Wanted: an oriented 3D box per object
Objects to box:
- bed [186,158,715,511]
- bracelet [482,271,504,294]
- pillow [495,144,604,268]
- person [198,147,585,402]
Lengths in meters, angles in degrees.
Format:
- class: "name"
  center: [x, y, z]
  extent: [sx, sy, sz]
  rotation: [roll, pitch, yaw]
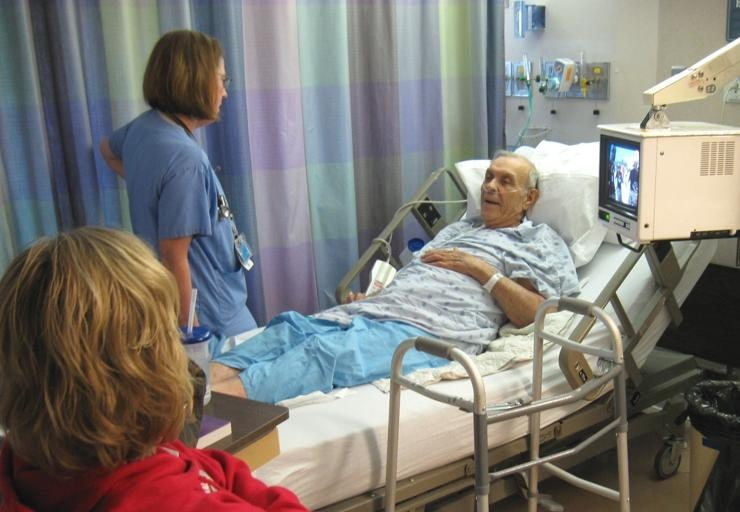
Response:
- class: "bed"
  center: [0.276, 0.315, 2.611]
  extent: [1.762, 0.895, 0.937]
  rotation: [-19, 29, -32]
- class: "bracelet"
  center: [0.539, 0.113, 2.641]
  extent: [0.082, 0.058, 0.083]
  rotation: [-39, 18, 28]
- class: "pillow"
  center: [0.929, -0.229, 2.963]
  extent: [0.168, 0.593, 0.502]
  rotation: [-9, 47, -20]
- class: "person"
  center: [0.063, 0.049, 2.629]
  extent: [1.916, 0.827, 0.900]
  rotation: [-11, 17, -32]
